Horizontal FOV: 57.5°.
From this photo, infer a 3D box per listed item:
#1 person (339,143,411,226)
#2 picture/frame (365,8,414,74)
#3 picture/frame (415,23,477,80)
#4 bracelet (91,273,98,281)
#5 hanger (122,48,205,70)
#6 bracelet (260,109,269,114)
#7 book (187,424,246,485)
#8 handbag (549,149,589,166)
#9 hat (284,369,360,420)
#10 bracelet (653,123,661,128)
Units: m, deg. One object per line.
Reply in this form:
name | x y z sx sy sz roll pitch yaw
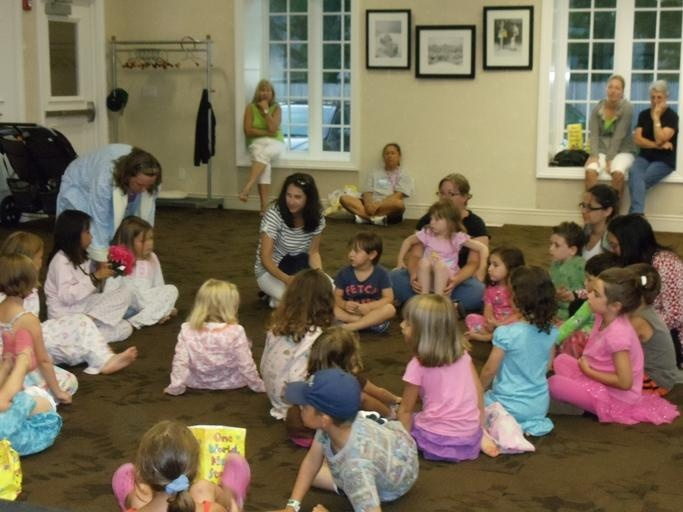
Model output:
person | 0.467 -0.934 7.796 0.820 1.036 0.789 9 11 23
picture/frame | 0.606 -2.697 7.708 0.812 0.995 0.044 0 1 10
picture/frame | 1.288 -2.508 7.559 0.690 0.600 0.050 2 11 18
bracelet | -1.612 0.138 4.049 0.020 0.058 0.020 -22 -12 -25
hanger | -2.461 -2.684 8.503 1.253 0.256 0.147 4 11 16
bracelet | -1.002 -1.869 8.067 0.130 0.068 0.039 10 14 40
book | -0.464 0.708 2.399 0.258 0.253 0.255 1 -4 -11
handbag | 2.740 -1.183 7.498 0.427 0.208 0.215 4 11 17
hat | -0.083 0.499 2.274 0.246 0.134 0.164 18 37 -2
bracelet | 3.455 -1.428 6.804 0.044 0.043 0.046 -12 18 -35
